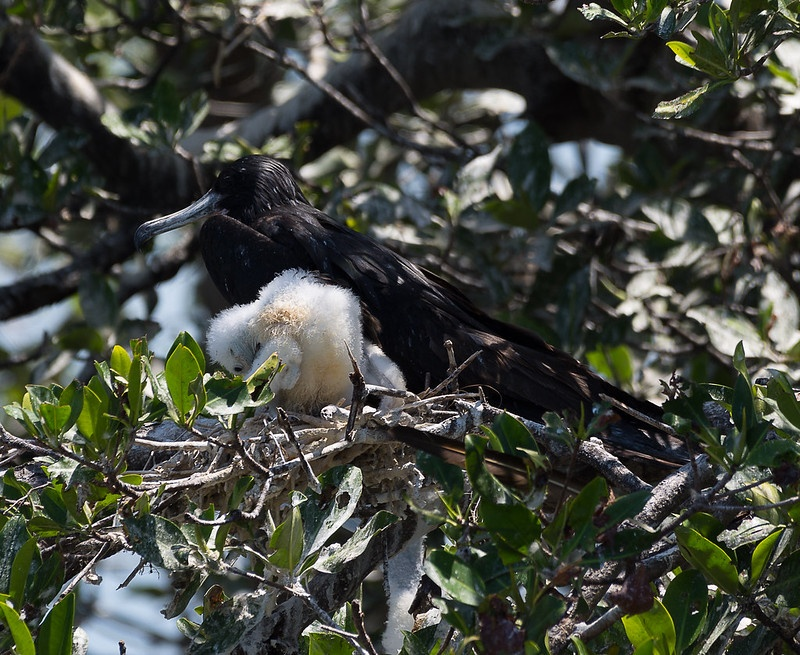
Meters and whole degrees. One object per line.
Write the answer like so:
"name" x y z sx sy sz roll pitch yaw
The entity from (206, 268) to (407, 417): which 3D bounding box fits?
"entity" -0.428 0.076 5.664 0.996 0.479 0.631 -1 84 10
